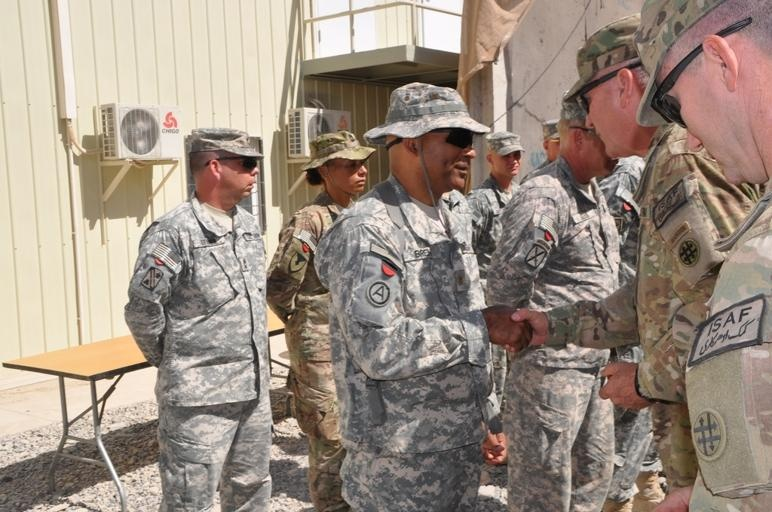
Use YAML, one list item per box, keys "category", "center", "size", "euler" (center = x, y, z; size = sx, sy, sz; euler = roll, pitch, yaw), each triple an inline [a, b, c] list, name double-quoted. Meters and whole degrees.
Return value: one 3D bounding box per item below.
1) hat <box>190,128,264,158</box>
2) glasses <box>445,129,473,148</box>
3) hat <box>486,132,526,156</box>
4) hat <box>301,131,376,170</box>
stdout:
- category: "hat"
  center: [-1.249, -0.852, 6.842]
  size: [0.382, 0.129, 0.272]
  euler: [1, 6, -21]
- category: "glasses"
  center: [0.447, -0.707, 5.520]
  size: [0.121, 0.093, 0.121]
  euler: [6, 1, -37]
- category: "hat"
  center: [1.167, -1.144, 9.179]
  size: [0.252, 0.158, 0.333]
  euler: [-15, 20, -40]
- category: "hat"
  center: [-0.425, -0.887, 7.497]
  size: [0.387, 0.153, 0.378]
  euler: [-16, 7, 22]
